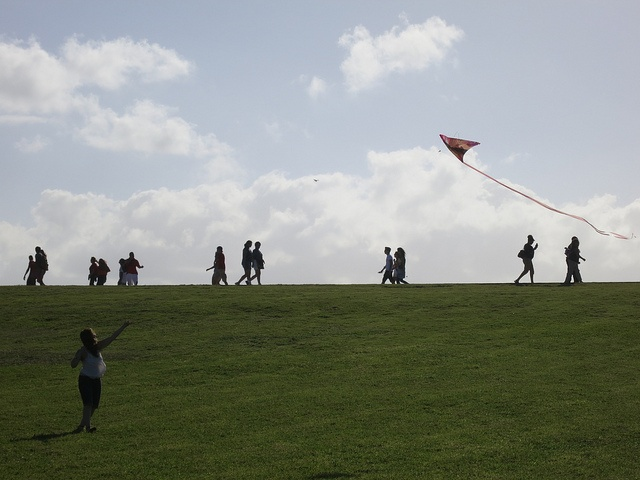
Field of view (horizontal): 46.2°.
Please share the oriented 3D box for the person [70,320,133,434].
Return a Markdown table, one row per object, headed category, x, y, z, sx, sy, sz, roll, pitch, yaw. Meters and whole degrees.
| category | x | y | z | sx | sy | sz | roll | pitch | yaw |
| --- | --- | --- | --- | --- | --- | --- | --- | --- | --- |
| person | -4.691 | 2.841 | 15.397 | 0.625 | 1.977 | 1.031 | 6 | 15 | 27 |
